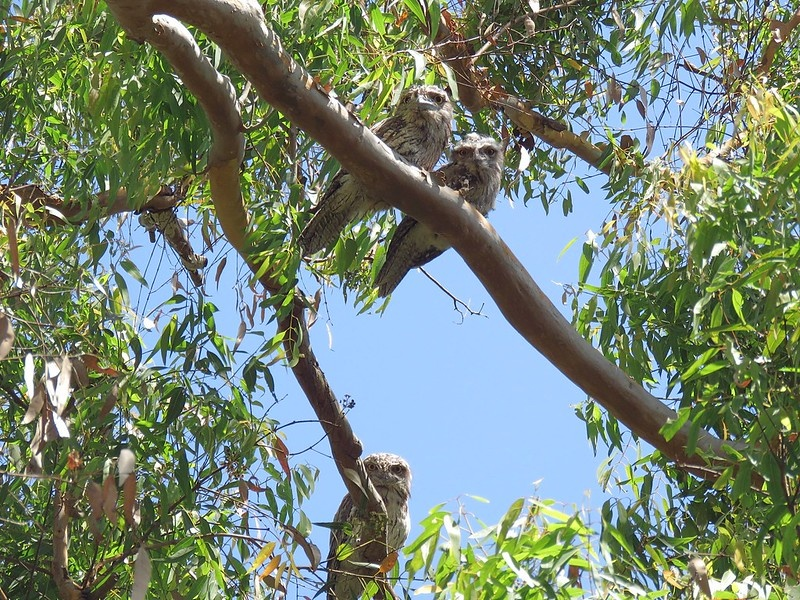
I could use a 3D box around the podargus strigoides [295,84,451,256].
[{"bbox_3d":[-0.118,-0.471,4.278,0.597,0.746,0.336,-20,-46,21],"label":"podargus strigoides"}]
